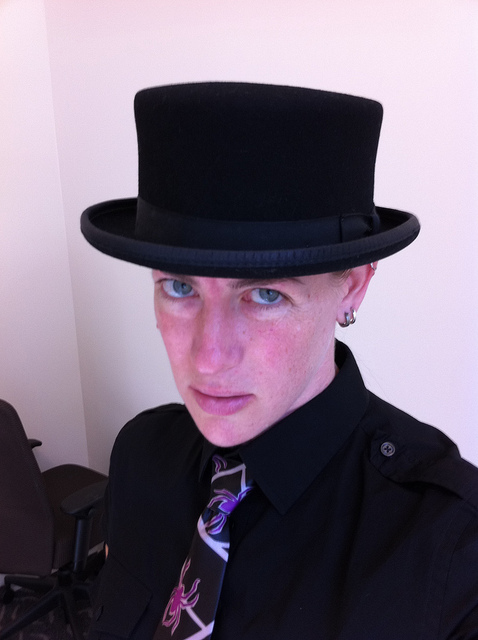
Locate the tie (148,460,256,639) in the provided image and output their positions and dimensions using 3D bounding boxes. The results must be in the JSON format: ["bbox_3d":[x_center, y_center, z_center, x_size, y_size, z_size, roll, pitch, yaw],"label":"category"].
[{"bbox_3d":[-0.050,0.437,1.350,0.126,0.041,0.349,14,66,25],"label":"tie"}]

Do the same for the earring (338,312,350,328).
[{"bbox_3d":[0.205,-0.002,1.424,0.023,0.025,0.019,4,-7,-23],"label":"earring"}]

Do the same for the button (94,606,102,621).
[{"bbox_3d":[-0.286,0.596,1.524,0.005,0.022,0.024,19,51,-17],"label":"button"}]

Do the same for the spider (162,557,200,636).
[{"bbox_3d":[-0.106,0.489,1.326,0.067,0.093,0.092,-8,29,-24],"label":"spider"}]
